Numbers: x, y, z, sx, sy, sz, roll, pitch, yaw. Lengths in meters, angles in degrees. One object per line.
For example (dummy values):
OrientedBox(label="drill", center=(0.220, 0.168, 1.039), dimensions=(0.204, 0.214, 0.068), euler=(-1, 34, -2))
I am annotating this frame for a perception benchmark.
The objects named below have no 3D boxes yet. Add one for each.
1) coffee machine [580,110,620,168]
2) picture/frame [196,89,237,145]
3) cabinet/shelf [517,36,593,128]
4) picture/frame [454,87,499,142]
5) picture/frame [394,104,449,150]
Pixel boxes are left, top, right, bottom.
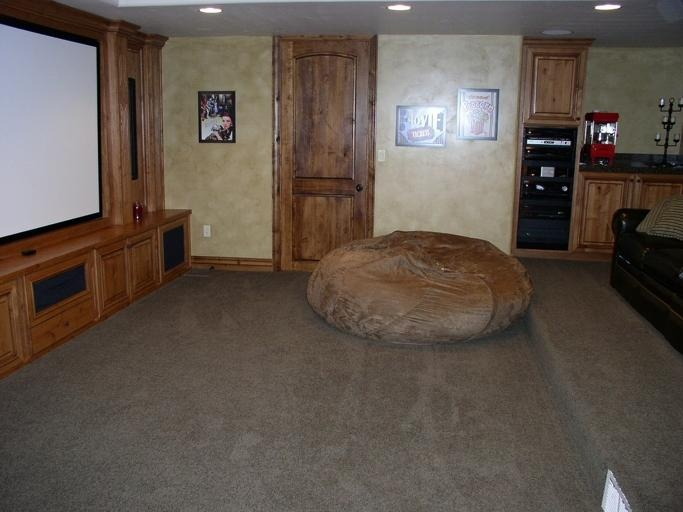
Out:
OrientedBox(label="coffee machine", center=(3.198, -1.450, 5.923), dimensions=(0.301, 0.588, 0.352), euler=(-1, 16, 5))
OrientedBox(label="picture/frame", center=(-1.422, -1.628, 5.560), dimensions=(0.605, 0.775, 0.053), euler=(0, 5, 2))
OrientedBox(label="cabinet/shelf", center=(2.372, -1.875, 5.549), dimensions=(0.752, 0.992, 0.555), euler=(3, 1, 3))
OrientedBox(label="picture/frame", center=(1.528, -1.607, 5.371), dimensions=(0.579, 0.693, 0.028), euler=(0, 16, 3))
OrientedBox(label="picture/frame", center=(0.920, -1.476, 5.433), dimensions=(0.481, 0.374, 0.022), euler=(0, 8, 2))
